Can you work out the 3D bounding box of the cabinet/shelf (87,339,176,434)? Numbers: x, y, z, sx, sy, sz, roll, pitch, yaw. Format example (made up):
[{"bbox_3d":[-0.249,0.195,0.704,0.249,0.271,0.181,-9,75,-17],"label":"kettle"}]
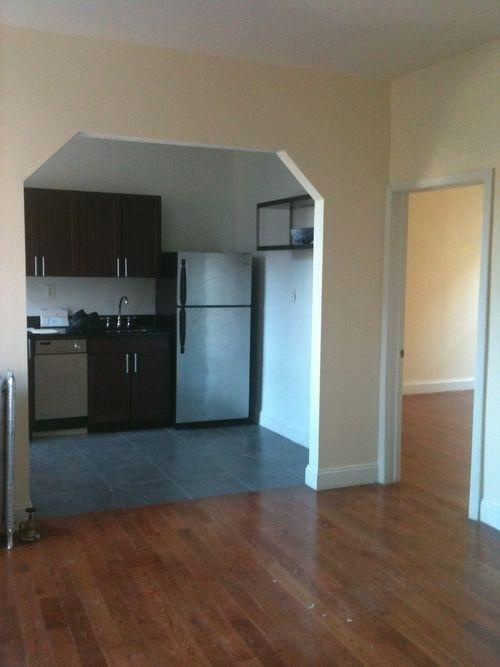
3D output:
[{"bbox_3d":[-1.039,0.404,5.094,0.814,1.284,0.604,2,-1,-31],"label":"cabinet/shelf"}]

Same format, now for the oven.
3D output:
[{"bbox_3d":[-1.552,0.358,4.636,0.437,0.927,0.506,0,0,-24],"label":"oven"}]

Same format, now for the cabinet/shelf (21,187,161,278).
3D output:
[{"bbox_3d":[-1.376,-0.847,4.692,0.699,0.614,0.262,-1,11,-23],"label":"cabinet/shelf"}]

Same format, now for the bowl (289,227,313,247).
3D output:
[{"bbox_3d":[0.390,-0.720,4.219,0.134,0.129,0.148,-1,3,3],"label":"bowl"}]

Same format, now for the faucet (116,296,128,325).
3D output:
[{"bbox_3d":[-1.209,-0.206,5.259,0.103,0.290,0.046,-2,7,-24],"label":"faucet"}]
